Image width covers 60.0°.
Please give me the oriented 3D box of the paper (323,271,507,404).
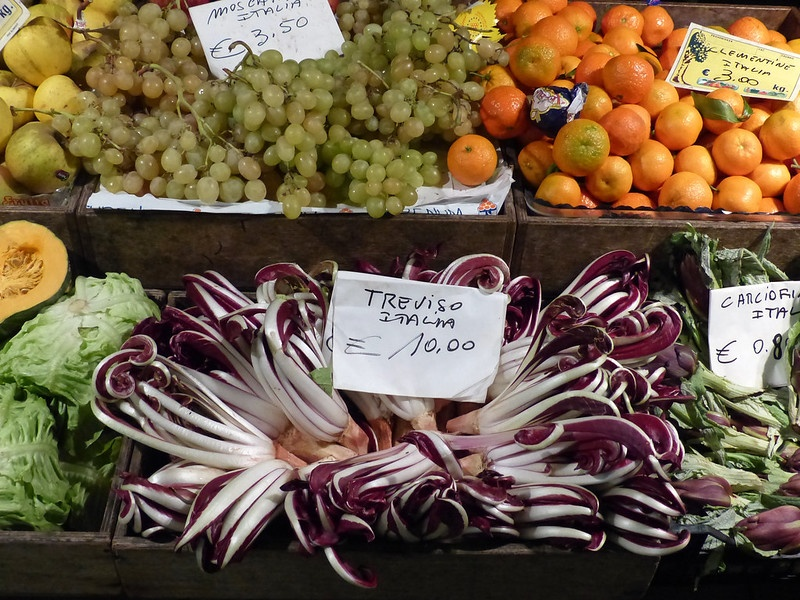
[{"bbox_3d":[0.035,0.070,1.353,0.431,0.236,0.045,2,0,36],"label":"paper"}]
